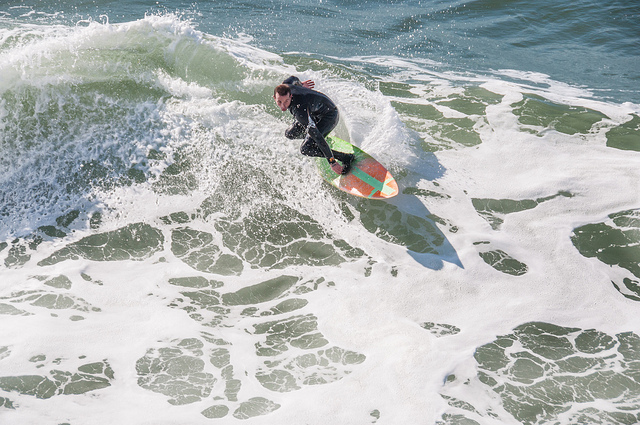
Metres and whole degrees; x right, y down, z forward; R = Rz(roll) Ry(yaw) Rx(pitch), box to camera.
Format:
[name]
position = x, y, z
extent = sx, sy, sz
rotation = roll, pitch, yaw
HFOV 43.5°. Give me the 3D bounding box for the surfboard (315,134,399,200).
[surfboard]
position = 1.245, -1.000, 23.499
extent = 3.636, 0.478, 1.006
rotation = 28, 81, 18
